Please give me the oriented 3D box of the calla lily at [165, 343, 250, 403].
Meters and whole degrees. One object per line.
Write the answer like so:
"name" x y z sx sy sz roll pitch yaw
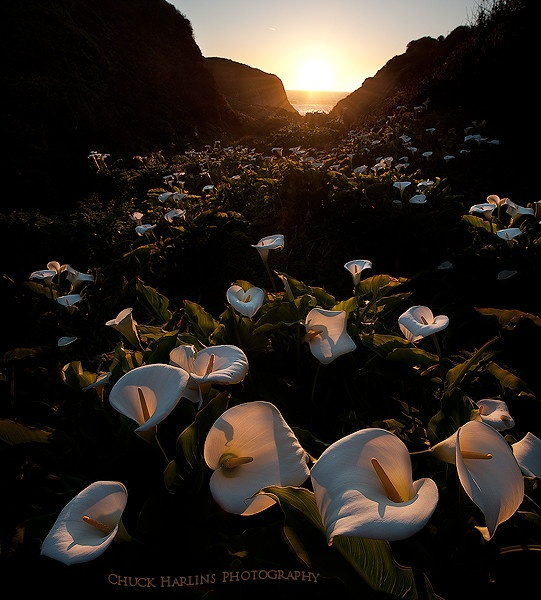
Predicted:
"calla lily" -0.242 0.269 1.831 0.268 0.136 0.274 9 32 36

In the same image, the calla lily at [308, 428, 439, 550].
"calla lily" 0.296 0.558 1.305 0.356 0.123 0.369 -12 24 0

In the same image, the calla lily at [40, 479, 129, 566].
"calla lily" -0.613 0.729 1.510 0.120 0.201 0.267 4 56 48

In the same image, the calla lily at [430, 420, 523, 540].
"calla lily" 0.656 0.526 1.477 0.277 0.159 0.385 4 37 -3
